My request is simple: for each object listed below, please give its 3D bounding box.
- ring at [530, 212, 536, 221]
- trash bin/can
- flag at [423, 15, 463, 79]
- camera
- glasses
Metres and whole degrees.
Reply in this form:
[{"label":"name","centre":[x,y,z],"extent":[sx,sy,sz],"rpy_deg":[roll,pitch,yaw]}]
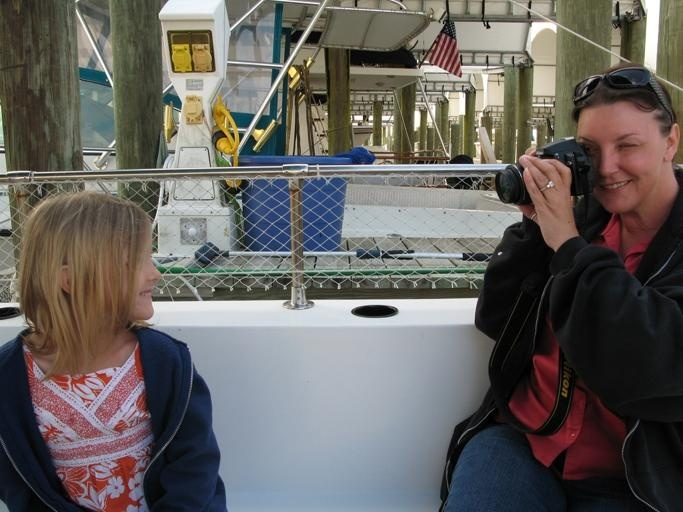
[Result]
[{"label":"ring","centre":[0.652,-0.130,2.549],"extent":[0.009,0.024,0.025],"rpy_deg":[-7,10,-1]},{"label":"trash bin/can","centre":[-0.336,-0.383,5.301],"extent":[0.817,0.693,0.437],"rpy_deg":[-1,6,-1]},{"label":"flag","centre":[1.602,-3.221,11.613],"extent":[0.548,1.257,0.480],"rpy_deg":[3,11,-1]},{"label":"camera","centre":[0.647,-0.282,2.453],"extent":[0.310,0.212,0.308],"rpy_deg":[5,8,3]},{"label":"glasses","centre":[0.905,-0.520,2.393],"extent":[0.310,0.187,0.121],"rpy_deg":[1,6,21]}]
